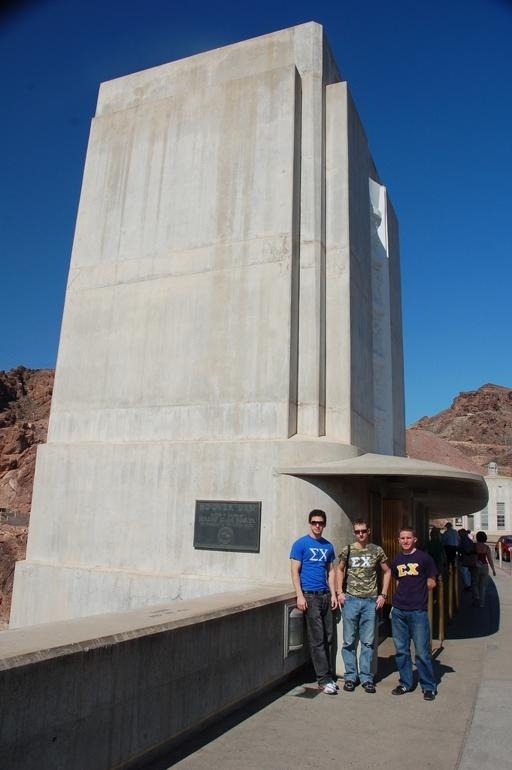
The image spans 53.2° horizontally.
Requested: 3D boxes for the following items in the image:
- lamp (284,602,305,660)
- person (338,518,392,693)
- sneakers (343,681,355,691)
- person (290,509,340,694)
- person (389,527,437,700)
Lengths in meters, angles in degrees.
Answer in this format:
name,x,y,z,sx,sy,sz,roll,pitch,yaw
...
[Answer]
name,x,y,z,sx,sy,sz,roll,pitch,yaw
lamp,0.398,2.567,5.351,0.177,0.397,0.265,-2,-14,18
person,1.081,2.229,5.160,0.520,1.652,0.439,-2,-8,14
sneakers,0.901,2.936,4.969,0.117,0.083,0.190,-2,-8,12
person,0.606,2.127,5.070,0.513,1.712,0.419,2,-8,-11
person,1.559,2.250,5.024,0.449,1.581,0.498,-3,-8,20
